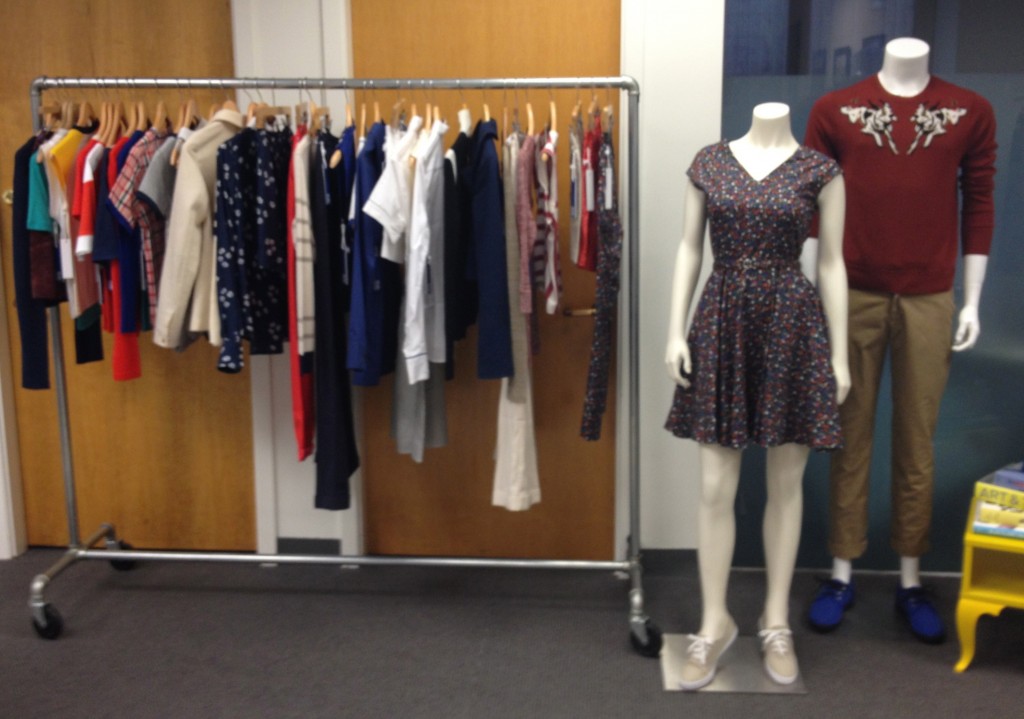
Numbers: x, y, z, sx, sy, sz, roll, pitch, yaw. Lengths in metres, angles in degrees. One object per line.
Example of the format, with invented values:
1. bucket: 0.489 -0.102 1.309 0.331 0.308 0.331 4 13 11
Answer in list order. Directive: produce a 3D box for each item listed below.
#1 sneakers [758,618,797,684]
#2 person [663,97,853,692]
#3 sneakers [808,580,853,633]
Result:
1. sneakers: 1.020 1.105 3.834 0.080 0.102 0.267 -3 22 4
2. person: 0.922 0.140 3.765 0.681 2.125 0.535 2 12 9
3. sneakers: 1.302 0.999 4.103 0.097 0.125 0.287 5 19 24
